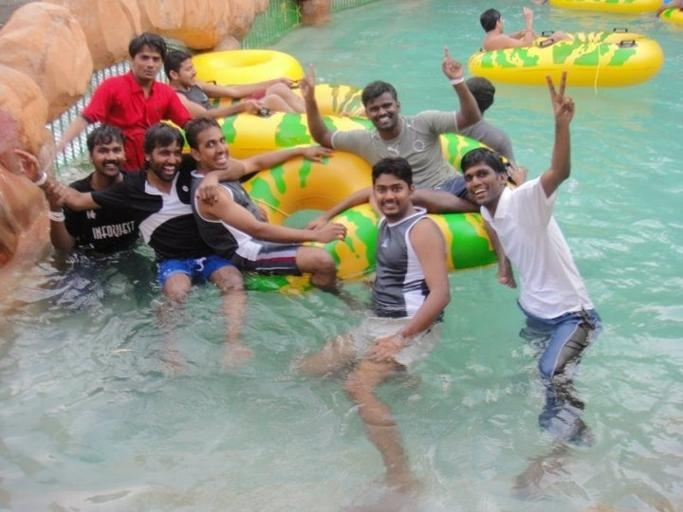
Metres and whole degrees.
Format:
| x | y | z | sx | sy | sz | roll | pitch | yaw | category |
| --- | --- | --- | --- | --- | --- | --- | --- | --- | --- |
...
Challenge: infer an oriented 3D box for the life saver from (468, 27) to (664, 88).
| x | y | z | sx | sy | sz | roll | pitch | yaw | category |
| --- | --- | --- | --- | --- | --- | --- | --- | --- | --- |
| 3.677 | -3.315 | 8.930 | 3.008 | 0.742 | 1.531 | 9 | 40 | 25 | life saver |

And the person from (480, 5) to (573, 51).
| x | y | z | sx | sy | sz | roll | pitch | yaw | category |
| --- | --- | --- | --- | --- | --- | --- | --- | --- | --- |
| 3.005 | -3.568 | 9.030 | 1.307 | 0.613 | 0.825 | -15 | 36 | -10 | person |
